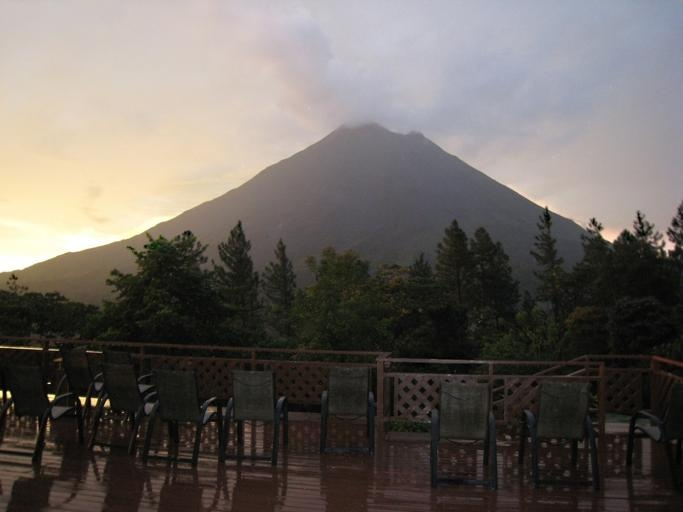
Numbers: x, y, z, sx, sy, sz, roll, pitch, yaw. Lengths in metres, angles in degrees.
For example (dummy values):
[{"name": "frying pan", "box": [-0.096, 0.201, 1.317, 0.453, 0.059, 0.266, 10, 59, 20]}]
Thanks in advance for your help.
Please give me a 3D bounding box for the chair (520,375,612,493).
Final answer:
[{"name": "chair", "box": [8.188, 6.668, 26.499, 2.883, 3.998, 2.147, 0, -13, 12]}]
